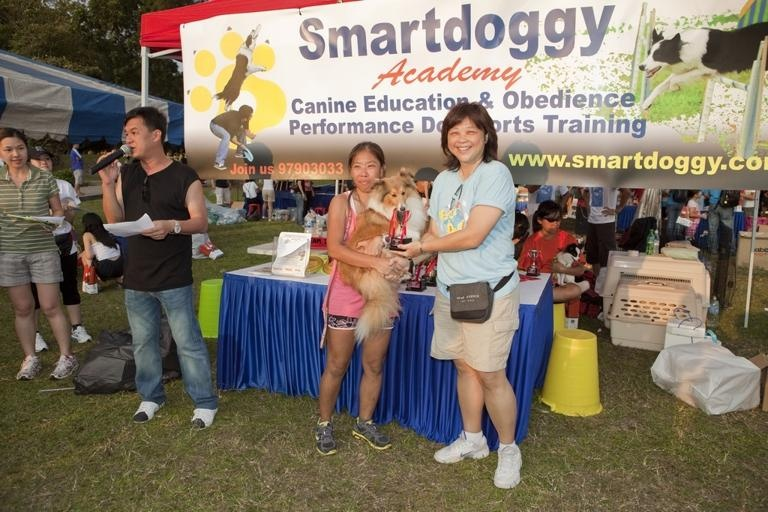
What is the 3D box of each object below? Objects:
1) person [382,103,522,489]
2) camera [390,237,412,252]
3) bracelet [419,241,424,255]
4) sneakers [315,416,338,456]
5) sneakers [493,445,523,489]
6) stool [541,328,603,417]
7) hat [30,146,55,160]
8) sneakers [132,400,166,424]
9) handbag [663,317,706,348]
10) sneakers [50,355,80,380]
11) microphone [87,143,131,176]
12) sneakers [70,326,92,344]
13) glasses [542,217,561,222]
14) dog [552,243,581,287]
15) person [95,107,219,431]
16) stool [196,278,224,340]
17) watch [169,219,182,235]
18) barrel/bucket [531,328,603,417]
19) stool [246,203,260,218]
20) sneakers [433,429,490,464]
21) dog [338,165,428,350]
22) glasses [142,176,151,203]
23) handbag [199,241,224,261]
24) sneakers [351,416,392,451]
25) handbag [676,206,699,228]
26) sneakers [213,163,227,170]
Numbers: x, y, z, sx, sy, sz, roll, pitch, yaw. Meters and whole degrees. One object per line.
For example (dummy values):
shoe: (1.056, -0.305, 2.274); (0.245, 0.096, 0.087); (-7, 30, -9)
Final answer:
person: (0.680, 0.302, 3.889); (0.907, 2.865, 0.514); (5, 12, 17)
camera: (0.109, -0.094, 3.810); (0.102, 0.070, 0.112); (1, -1, 17)
bracelet: (0.277, -0.065, 3.783); (0.039, 0.098, 0.080); (3, 12, 8)
sneakers: (-0.494, 1.510, 4.284); (0.131, 0.141, 0.301); (-2, 18, -18)
sneakers: (0.950, 1.626, 3.919); (0.158, 0.159, 0.364); (-3, 20, 21)
stool: (1.841, 1.128, 4.883); (0.562, 0.665, 0.595); (2, -3, 8)
hat: (-4.082, -1.221, 5.985); (0.255, 0.142, 0.188); (-1, 8, 37)
sneakers: (-2.175, 1.415, 4.624); (0.108, 0.111, 0.261); (5, -3, 2)
handbag: (3.215, 0.822, 5.403); (0.364, 0.239, 0.601); (9, 15, 31)
sneakers: (-3.334, 1.153, 5.317); (0.136, 0.160, 0.330); (0, 6, -6)
microphone: (-2.288, -0.823, 4.255); (0.278, 0.233, 0.421); (-10, 17, -41)
sneakers: (-3.610, 0.918, 6.104); (0.321, 0.171, 0.132); (10, 12, 20)
glasses: (1.973, -0.436, 5.924); (0.221, 0.047, 0.098); (-1, 13, -11)
dog: (2.179, 0.093, 6.060); (0.275, 0.479, 0.218); (5, 12, 18)
person: (-1.953, 0.109, 4.438); (0.923, 2.757, 0.571); (8, 13, 30)
stool: (-2.125, 0.574, 6.231); (0.404, 0.520, 0.458); (5, 9, -16)
watch: (-1.722, -0.242, 4.201); (0.066, 0.109, 0.101); (23, -4, -28)
barrel/bucket: (1.727, 1.047, 4.991); (0.662, 0.743, 0.641); (3, 8, 0)
stool: (-4.016, -1.415, 15.613); (0.428, 0.453, 0.327); (-2, -3, -5)
sneakers: (0.643, 1.531, 4.224); (0.514, 0.268, 0.191); (-4, 11, -5)
dog: (-0.060, -0.028, 3.942); (0.682, 0.636, 1.414); (4, 51, 10)
glasses: (-2.019, -0.572, 4.322); (0.096, 0.211, 0.062); (9, 14, 33)
handbag: (-3.402, -0.131, 9.925); (0.386, 0.159, 0.321); (30, 40, 20)
sneakers: (-0.106, 1.518, 4.375); (0.362, 0.161, 0.177); (26, 14, 17)
handbag: (5.962, -0.756, 9.945); (0.296, 0.146, 0.415); (9, 39, 41)
sneakers: (-1.801, -0.992, 5.568); (0.149, 0.074, 0.057); (6, 19, 19)
